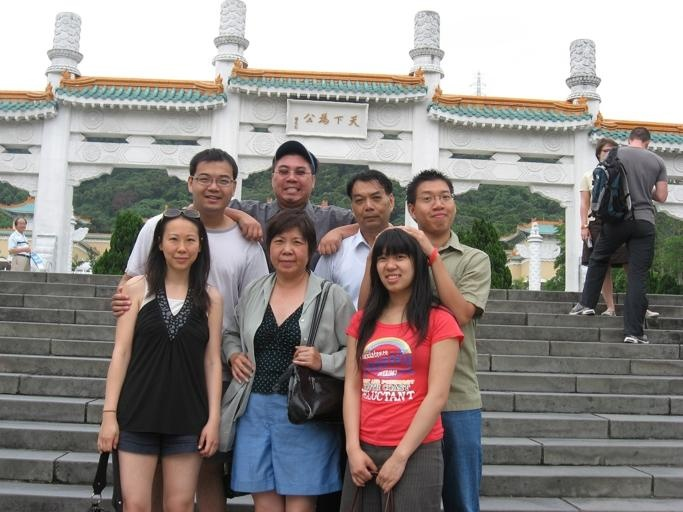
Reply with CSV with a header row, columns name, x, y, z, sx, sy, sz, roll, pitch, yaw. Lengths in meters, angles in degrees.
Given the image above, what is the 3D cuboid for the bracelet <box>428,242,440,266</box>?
name,x,y,z,sx,sy,sz,roll,pitch,yaw
bracelet,0.706,-0.001,6.119,0.032,0.129,0.095,32,22,14

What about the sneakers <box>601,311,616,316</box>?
name,x,y,z,sx,sy,sz,roll,pitch,yaw
sneakers,3.262,0.718,9.754,0.192,0.075,0.079,1,-5,13

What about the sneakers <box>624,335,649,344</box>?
name,x,y,z,sx,sy,sz,roll,pitch,yaw
sneakers,3.323,0.950,8.998,0.261,0.111,0.098,1,-7,-2

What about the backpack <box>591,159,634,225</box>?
name,x,y,z,sx,sy,sz,roll,pitch,yaw
backpack,3.015,-0.736,8.956,0.448,0.736,0.183,-1,-5,35

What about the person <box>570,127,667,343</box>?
name,x,y,z,sx,sy,sz,roll,pitch,yaw
person,3.223,-0.252,9.094,0.931,2.507,0.702,-1,-5,32

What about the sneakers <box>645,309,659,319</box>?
name,x,y,z,sx,sy,sz,roll,pitch,yaw
sneakers,3.838,0.730,9.781,0.279,0.108,0.099,4,-3,-27

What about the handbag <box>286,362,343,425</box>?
name,x,y,z,sx,sy,sz,roll,pitch,yaw
handbag,-0.197,1.050,6.061,0.437,0.287,0.155,20,-34,-36

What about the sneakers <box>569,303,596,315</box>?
name,x,y,z,sx,sy,sz,roll,pitch,yaw
sneakers,2.897,0.658,9.694,0.365,0.162,0.129,2,-2,19

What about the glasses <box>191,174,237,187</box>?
name,x,y,z,sx,sy,sz,roll,pitch,yaw
glasses,-1.054,-0.621,6.611,0.336,0.101,0.083,2,-4,-12
